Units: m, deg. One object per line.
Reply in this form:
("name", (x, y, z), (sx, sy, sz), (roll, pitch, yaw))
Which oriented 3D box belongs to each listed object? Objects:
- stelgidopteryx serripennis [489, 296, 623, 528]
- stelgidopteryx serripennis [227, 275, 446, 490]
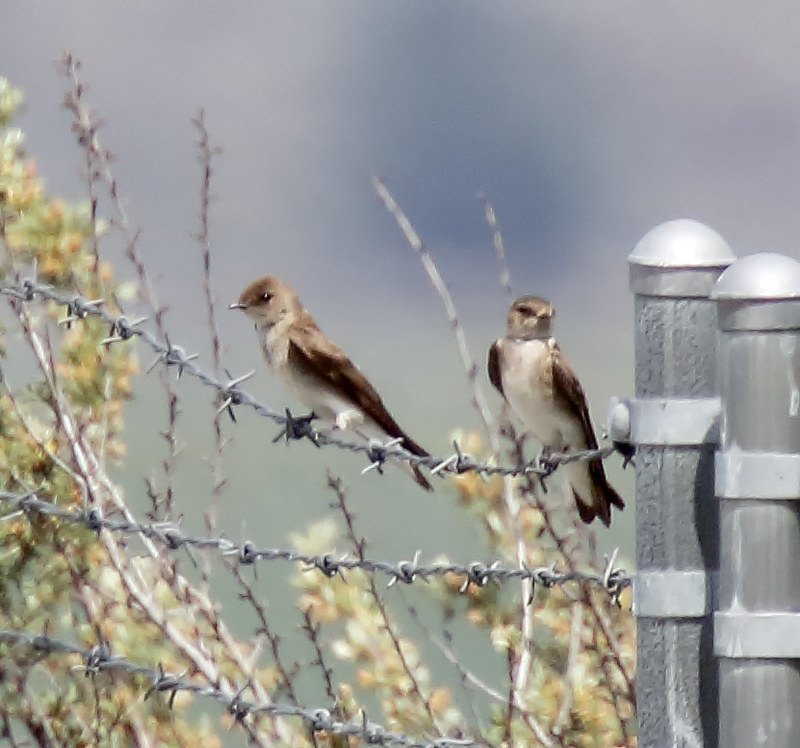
("stelgidopteryx serripennis", (0.455, 0.070, 4.776), (0.398, 0.870, 0.308), (0, 0, -41))
("stelgidopteryx serripennis", (-0.213, -0.018, 4.761), (0.518, 0.428, 0.219), (25, -34, -37))
